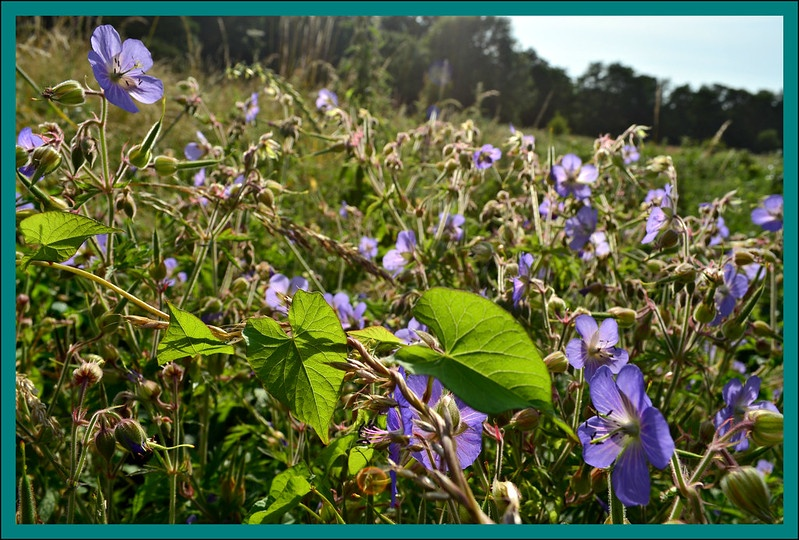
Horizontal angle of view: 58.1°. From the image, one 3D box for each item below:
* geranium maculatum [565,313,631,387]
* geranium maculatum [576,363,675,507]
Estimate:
[{"bbox_3d":[0.641,0.251,2.362,0.217,0.210,0.115,9,17,-13],"label":"geranium maculatum"},{"bbox_3d":[0.654,0.467,2.148,0.232,0.469,0.261,-1,-2,-6],"label":"geranium maculatum"}]
